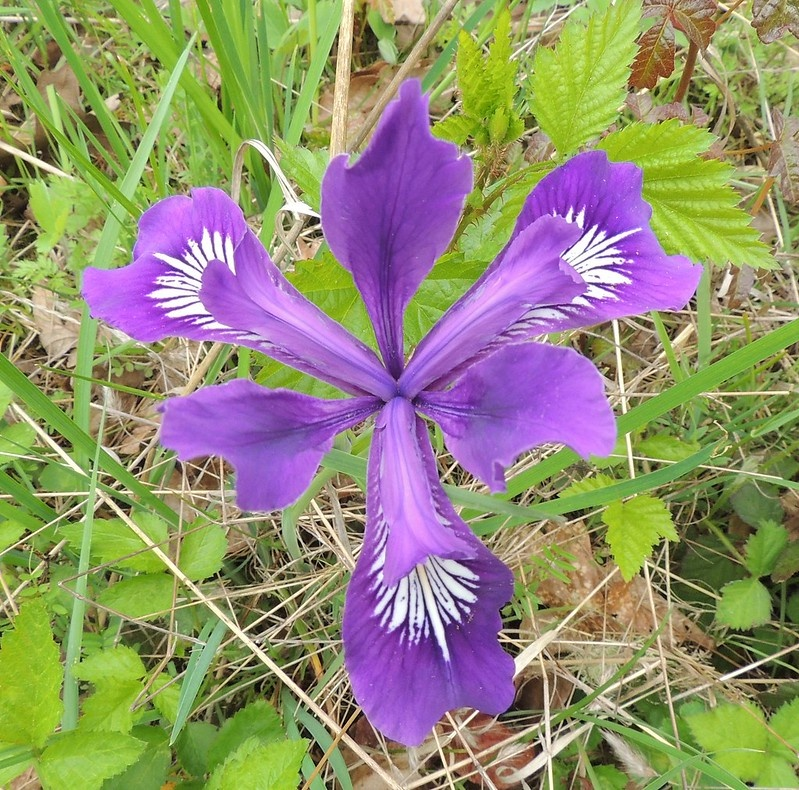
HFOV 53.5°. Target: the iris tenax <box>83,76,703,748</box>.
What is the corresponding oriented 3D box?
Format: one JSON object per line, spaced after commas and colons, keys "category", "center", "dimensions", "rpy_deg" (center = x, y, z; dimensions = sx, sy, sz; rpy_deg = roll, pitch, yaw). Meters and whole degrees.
{"category": "iris tenax", "center": [0.052, -0.023, 1.747], "dimensions": [1.453, 0.564, 1.363], "rpy_deg": [-13, 78, 0]}
